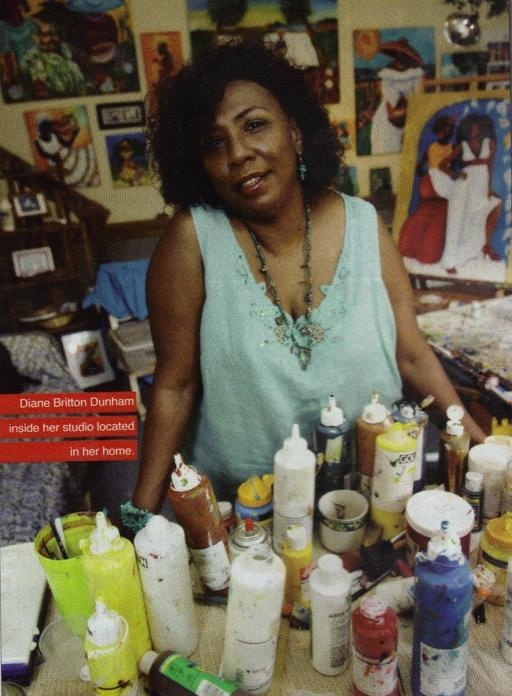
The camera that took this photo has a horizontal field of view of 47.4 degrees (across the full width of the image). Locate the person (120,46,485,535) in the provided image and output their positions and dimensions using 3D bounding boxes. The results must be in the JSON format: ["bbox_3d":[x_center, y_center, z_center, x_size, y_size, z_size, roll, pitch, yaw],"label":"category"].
[{"bbox_3d":[0.087,-0.135,1.134,0.754,0.768,0.443,-15,39,-6],"label":"person"}]

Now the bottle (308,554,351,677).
[{"bbox_3d":[0.128,0.442,0.968,0.088,0.204,0.067,-10,20,-15],"label":"bottle"}]

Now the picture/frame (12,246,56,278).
[{"bbox_3d":[-0.428,-0.168,1.124,0.059,0.041,0.010,-10,25,-4],"label":"picture/frame"}]

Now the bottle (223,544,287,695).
[{"bbox_3d":[-0.002,0.439,0.946,0.108,0.243,0.077,-18,24,-35],"label":"bottle"}]
